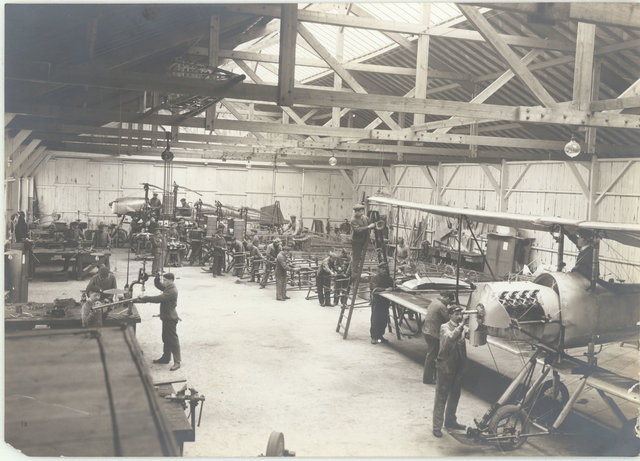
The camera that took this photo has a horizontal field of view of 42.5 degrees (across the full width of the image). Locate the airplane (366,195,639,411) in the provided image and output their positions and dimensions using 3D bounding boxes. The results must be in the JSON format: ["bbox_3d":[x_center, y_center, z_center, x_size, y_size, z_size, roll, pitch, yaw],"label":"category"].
[{"bbox_3d":[5.507,1.928,18.977,5.532,2.155,6.915,6,5,-35],"label":"airplane"}]

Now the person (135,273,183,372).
[{"bbox_3d":[-3.783,2.207,19.978,0.834,2.169,1.191,0,14,-10],"label":"person"}]

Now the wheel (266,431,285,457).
[{"bbox_3d":[-0.879,4.187,16.027,0.167,0.511,0.543,1,-9,8],"label":"wheel"}]

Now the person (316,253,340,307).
[{"bbox_3d":[0.228,1.580,26.322,0.746,1.596,0.984,3,14,1],"label":"person"}]

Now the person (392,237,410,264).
[{"bbox_3d":[2.945,0.769,29.851,0.530,1.292,1.080,1,1,-13],"label":"person"}]

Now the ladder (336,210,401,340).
[{"bbox_3d":[1.066,1.862,23.361,1.273,3.842,1.275,-1,7,-29],"label":"ladder"}]
